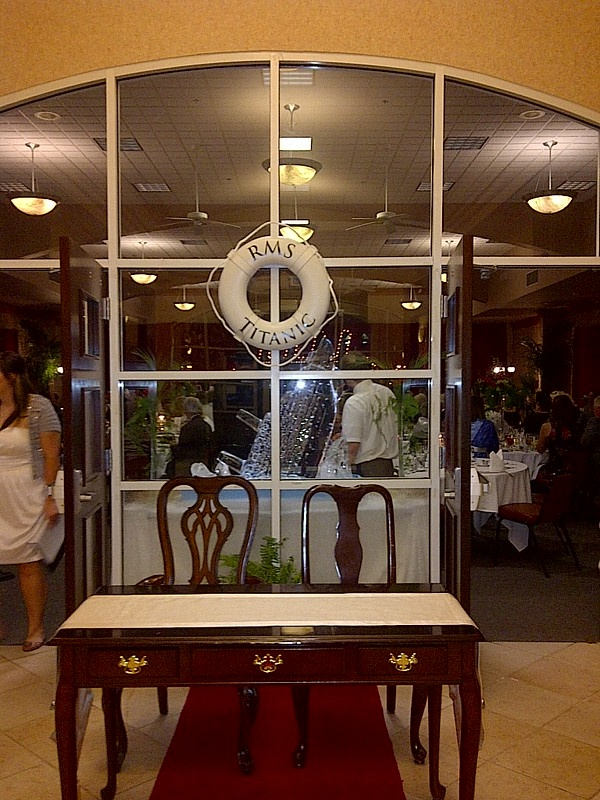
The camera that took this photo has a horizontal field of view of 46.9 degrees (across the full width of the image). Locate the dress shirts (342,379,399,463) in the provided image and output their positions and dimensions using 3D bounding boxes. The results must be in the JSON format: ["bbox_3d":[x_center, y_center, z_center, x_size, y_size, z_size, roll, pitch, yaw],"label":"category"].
[{"bbox_3d":[0.294,0.071,2.933,0.291,0.298,0.173,-10,16,-26],"label":"dress shirts"}]

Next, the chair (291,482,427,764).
[{"bbox_3d":[0.190,0.673,2.238,0.458,0.770,0.512,-2,5,11],"label":"chair"}]

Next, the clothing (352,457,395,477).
[{"bbox_3d":[0.315,0.296,2.908,0.173,0.100,0.119,-1,7,-2],"label":"clothing"}]

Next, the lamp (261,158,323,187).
[{"bbox_3d":[-0.026,-0.981,2.959,0.153,0.058,0.151,0,5,5],"label":"lamp"}]

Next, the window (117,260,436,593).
[{"bbox_3d":[-0.137,0.062,2.815,1.410,1.655,0.059,0,2,-1],"label":"window"}]

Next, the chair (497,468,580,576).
[{"bbox_3d":[1.572,0.763,4.588,0.507,0.613,1.071,-1,3,21],"label":"chair"}]

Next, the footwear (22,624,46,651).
[{"bbox_3d":[-1.226,1.111,3.195,0.070,0.082,0.142,-1,-12,-4],"label":"footwear"}]
